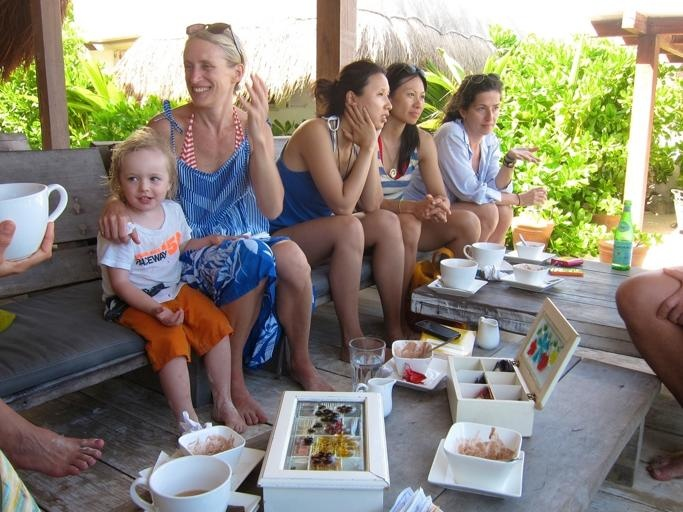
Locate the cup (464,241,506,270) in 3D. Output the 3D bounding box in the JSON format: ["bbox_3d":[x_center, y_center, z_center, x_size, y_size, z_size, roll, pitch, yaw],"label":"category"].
[{"bbox_3d":[0.725,-0.015,2.508,0.167,0.117,0.144,-3,9,9],"label":"cup"}]

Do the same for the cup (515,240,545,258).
[{"bbox_3d":[1.024,-0.046,2.715,0.115,0.064,0.092,5,14,21],"label":"cup"}]

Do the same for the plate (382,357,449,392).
[{"bbox_3d":[0.251,0.379,1.618,0.108,0.021,0.118,7,19,18],"label":"plate"}]

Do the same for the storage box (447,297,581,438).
[{"bbox_3d":[0.439,0.337,1.501,0.338,0.376,0.378,4,15,1],"label":"storage box"}]

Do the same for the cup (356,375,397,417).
[{"bbox_3d":[0.107,0.388,1.464,0.124,0.119,0.076,-12,25,-28],"label":"cup"}]

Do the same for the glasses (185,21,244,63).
[{"bbox_3d":[-0.532,-0.948,2.192,0.183,0.197,0.060,16,55,19],"label":"glasses"}]

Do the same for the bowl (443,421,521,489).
[{"bbox_3d":[0.366,0.468,1.160,0.142,0.067,0.123,4,19,-22],"label":"bowl"}]

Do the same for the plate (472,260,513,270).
[{"bbox_3d":[0.779,0.050,2.500,0.099,0.036,0.101,0,8,-21],"label":"plate"}]

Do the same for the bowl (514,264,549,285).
[{"bbox_3d":[0.884,0.071,2.326,0.113,0.057,0.093,-7,17,-33],"label":"bowl"}]

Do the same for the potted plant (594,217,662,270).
[{"bbox_3d":[2.254,-0.143,4.055,0.447,0.362,0.466,0,6,-2],"label":"potted plant"}]

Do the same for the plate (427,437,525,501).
[{"bbox_3d":[0.310,0.503,1.152,0.138,0.026,0.142,8,18,20],"label":"plate"}]

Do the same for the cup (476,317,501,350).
[{"bbox_3d":[0.532,0.283,1.875,0.076,0.108,0.107,-3,12,-14],"label":"cup"}]

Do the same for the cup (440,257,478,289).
[{"bbox_3d":[0.530,0.072,2.287,0.135,0.116,0.142,1,7,0],"label":"cup"}]
